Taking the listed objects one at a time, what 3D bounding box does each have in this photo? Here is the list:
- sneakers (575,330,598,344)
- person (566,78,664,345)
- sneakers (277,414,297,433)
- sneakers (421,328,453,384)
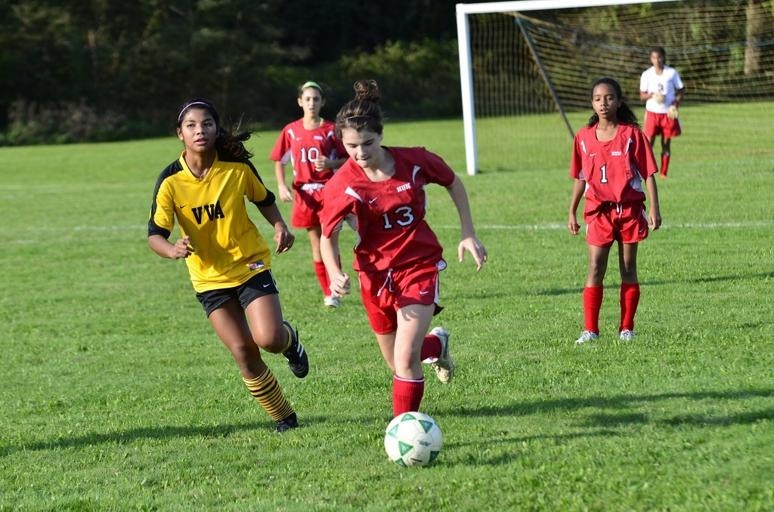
[{"bbox_3d":[2.316,0.947,11.634,0.305,0.141,0.113,-2,-1,-31],"label":"sneakers"},{"bbox_3d":[2.611,-0.532,11.555,1.020,2.962,0.636,-3,9,12],"label":"person"},{"bbox_3d":[-1.036,1.719,10.301,0.131,0.107,0.077,28,-19,-12],"label":"sneakers"},{"bbox_3d":[0.554,1.019,10.669,0.293,0.688,0.216,-14,16,-26],"label":"sneakers"}]
